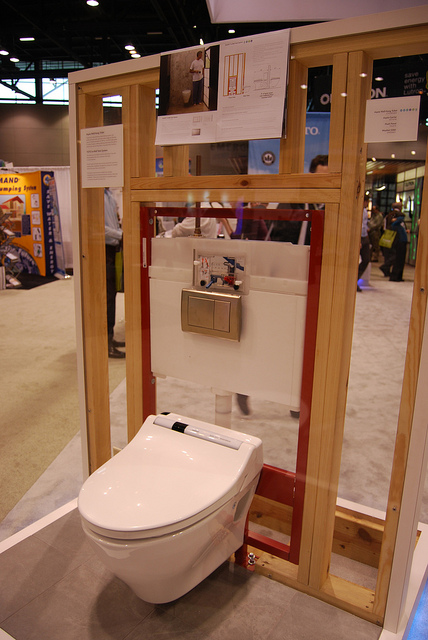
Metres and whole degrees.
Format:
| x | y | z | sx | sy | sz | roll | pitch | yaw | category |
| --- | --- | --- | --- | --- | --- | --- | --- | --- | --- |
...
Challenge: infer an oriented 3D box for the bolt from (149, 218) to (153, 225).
| x | y | z | sx | sy | sz | roll | pitch | yaw | category |
| --- | --- | --- | --- | --- | --- | --- | --- | --- | --- |
| -0.194 | -0.304 | 1.445 | 0.011 | 0.017 | 0.005 | 3 | 10 | 15 | bolt |

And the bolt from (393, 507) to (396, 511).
| x | y | z | sx | sy | sz | roll | pitch | yaw | category |
| --- | --- | --- | --- | --- | --- | --- | --- | --- | --- |
| 0.445 | 0.464 | 1.149 | 0.005 | 0.009 | 0.001 | 4 | 10 | 21 | bolt |

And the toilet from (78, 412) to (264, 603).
| x | y | z | sx | sy | sz | roll | pitch | yaw | category |
| --- | --- | --- | --- | --- | --- | --- | --- | --- | --- |
| -0.117 | 0.502 | 1.210 | 0.326 | 0.371 | 0.447 | 6 | 14 | 32 | toilet |

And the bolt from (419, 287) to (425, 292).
| x | y | z | sx | sy | sz | roll | pitch | yaw | category |
| --- | --- | --- | --- | --- | --- | --- | --- | --- | --- |
| 0.458 | -0.067 | 1.023 | 0.006 | 0.009 | 0.002 | 3 | 6 | 11 | bolt |

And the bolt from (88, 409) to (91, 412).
| x | y | z | sx | sy | sz | roll | pitch | yaw | category |
| --- | --- | --- | --- | --- | --- | --- | --- | --- | --- |
| -0.465 | 0.338 | 1.744 | 0.014 | 0.012 | 0.003 | 4 | 10 | 22 | bolt |

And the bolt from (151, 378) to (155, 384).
| x | y | z | sx | sy | sz | roll | pitch | yaw | category |
| --- | --- | --- | --- | --- | --- | --- | --- | --- | --- |
| -0.206 | 0.204 | 1.577 | 0.012 | 0.017 | 0.005 | 9 | 4 | -7 | bolt |
